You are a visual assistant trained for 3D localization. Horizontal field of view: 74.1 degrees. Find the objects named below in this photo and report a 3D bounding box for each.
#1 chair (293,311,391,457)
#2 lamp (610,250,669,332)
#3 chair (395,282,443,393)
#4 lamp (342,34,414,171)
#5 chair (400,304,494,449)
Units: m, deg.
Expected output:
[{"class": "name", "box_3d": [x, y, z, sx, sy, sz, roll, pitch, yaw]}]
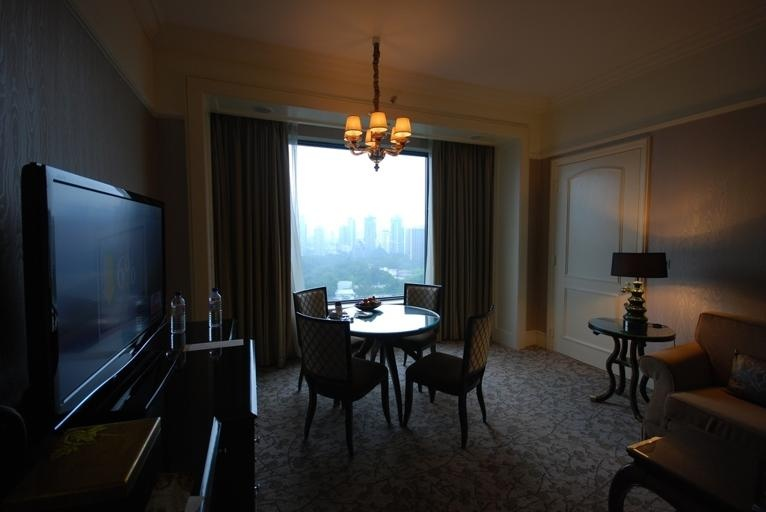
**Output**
[{"class": "chair", "box_3d": [-0.344, 1.073, 4.412, 0.817, 1.136, 0.500, 0, 4, -9]}, {"class": "lamp", "box_3d": [2.451, 0.328, 4.940, 0.450, 0.732, 0.712, 2, 4, 20]}, {"class": "chair", "box_3d": [0.444, 0.831, 5.675, 0.471, 0.890, 0.492, 0, 16, -24]}, {"class": "lamp", "box_3d": [-0.061, -1.467, 4.745, 0.547, 1.213, 0.555, 0, 1, 24]}, {"class": "chair", "box_3d": [0.630, 1.025, 4.731, 0.698, 1.135, 0.641, 6, 9, 30]}]
